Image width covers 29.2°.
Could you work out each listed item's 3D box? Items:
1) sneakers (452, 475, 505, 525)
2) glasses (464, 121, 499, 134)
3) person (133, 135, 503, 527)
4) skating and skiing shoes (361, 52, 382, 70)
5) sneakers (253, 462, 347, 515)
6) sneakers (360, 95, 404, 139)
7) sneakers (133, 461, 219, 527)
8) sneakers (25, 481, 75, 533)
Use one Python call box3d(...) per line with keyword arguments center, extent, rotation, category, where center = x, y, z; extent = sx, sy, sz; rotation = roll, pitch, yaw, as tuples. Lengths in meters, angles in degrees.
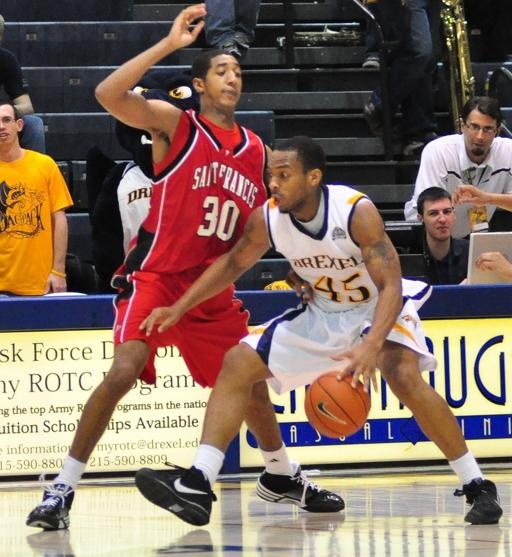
box3d(center=(0.819, 0.817, 3.656), extent=(0.156, 0.128, 0.327), rotation=(-19, -3, 22), category="sneakers")
box3d(center=(1.350, -0.887, 5.858), extent=(0.203, 0.072, 0.136), rotation=(-1, 1, -3), category="glasses")
box3d(center=(0.188, 0.184, 3.738), extent=(1.292, 1.455, 0.625), rotation=(-2, 1, -9), category="person")
box3d(center=(0.953, -1.790, 8.150), extent=(0.096, 0.092, 0.249), rotation=(1, 2, -8), category="skating and skiing shoes")
box3d(center=(0.180, 0.869, 4.089), extent=(0.438, 0.169, 0.137), rotation=(10, -2, 6), category="sneakers")
box3d(center=(0.977, -1.239, 7.650), extent=(0.193, 0.192, 0.533), rotation=(9, -6, 13), category="sneakers")
box3d(center=(-0.285, 0.795, 3.557), extent=(0.326, 0.117, 0.212), rotation=(30, 41, -4), category="sneakers")
box3d(center=(-0.771, 0.867, 3.742), extent=(0.122, 0.142, 0.330), rotation=(8, -8, 7), category="sneakers")
